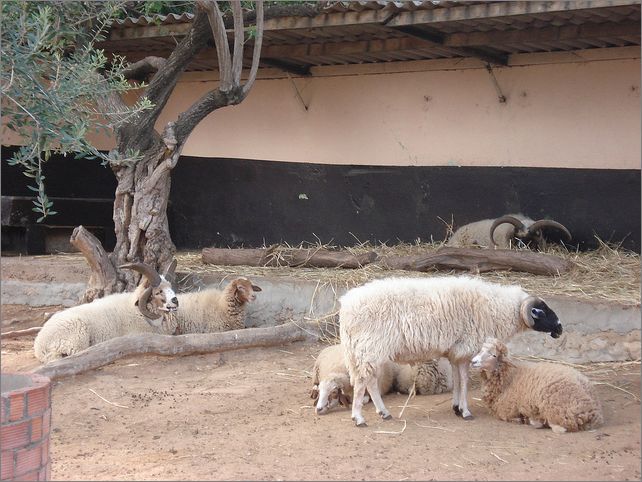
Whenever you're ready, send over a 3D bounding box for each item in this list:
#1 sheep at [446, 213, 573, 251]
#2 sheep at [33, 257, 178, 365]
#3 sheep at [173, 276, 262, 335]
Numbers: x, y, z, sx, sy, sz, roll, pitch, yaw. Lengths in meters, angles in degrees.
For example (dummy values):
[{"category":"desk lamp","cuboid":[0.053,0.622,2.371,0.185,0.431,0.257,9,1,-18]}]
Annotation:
[{"category":"sheep","cuboid":[2.759,-0.117,12.800,0.777,0.511,1.455,-1,-4,-42]},{"category":"sheep","cuboid":[-2.489,0.924,9.814,1.647,1.127,0.697,-8,-6,-27]},{"category":"sheep","cuboid":[-1.453,0.919,10.770,1.244,0.991,0.603,4,15,5]}]
